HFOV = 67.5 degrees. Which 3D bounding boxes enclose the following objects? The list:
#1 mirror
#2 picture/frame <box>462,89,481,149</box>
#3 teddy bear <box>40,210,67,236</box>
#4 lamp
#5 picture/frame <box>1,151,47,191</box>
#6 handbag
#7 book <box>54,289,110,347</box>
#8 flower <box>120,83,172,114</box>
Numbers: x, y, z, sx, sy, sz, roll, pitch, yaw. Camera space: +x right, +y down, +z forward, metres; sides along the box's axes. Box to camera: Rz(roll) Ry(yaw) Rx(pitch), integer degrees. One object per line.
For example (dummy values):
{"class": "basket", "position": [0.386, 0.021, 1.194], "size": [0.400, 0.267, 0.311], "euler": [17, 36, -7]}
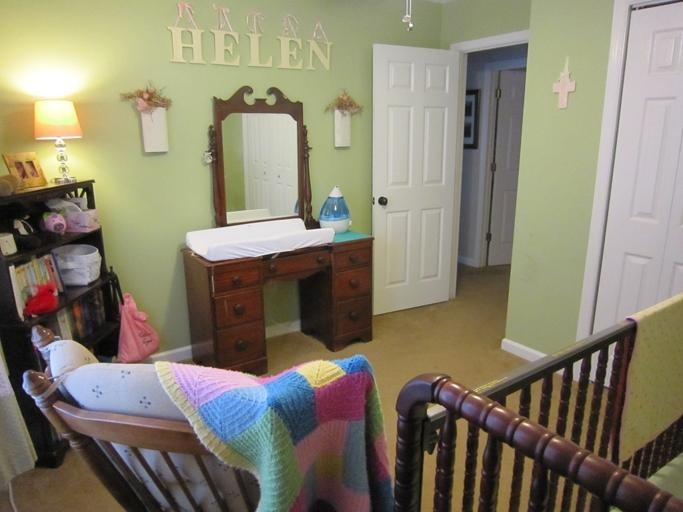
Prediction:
{"class": "mirror", "position": [-0.602, -0.724, 3.703], "size": [0.829, 1.229, 0.099], "euler": [-11, 18, -34]}
{"class": "picture/frame", "position": [1.349, -1.446, 5.479], "size": [0.036, 0.564, 0.382], "euler": [8, 14, 37]}
{"class": "teddy bear", "position": [-1.588, -0.172, 2.844], "size": [0.118, 0.126, 0.058], "euler": [12, -18, -15]}
{"class": "lamp", "position": [-1.657, -0.656, 3.013], "size": [0.221, 0.480, 0.230], "euler": [-2, 9, -4]}
{"class": "picture/frame", "position": [-1.729, -0.451, 2.762], "size": [0.019, 0.288, 0.271], "euler": [-9, 5, 19]}
{"class": "handbag", "position": [-1.306, 0.457, 3.267], "size": [0.193, 0.449, 0.291], "euler": [4, 10, 18]}
{"class": "book", "position": [-1.463, 0.346, 2.861], "size": [0.092, 0.273, 0.294], "euler": [-1, 13, -4]}
{"class": "flower", "position": [-1.246, -0.991, 3.267], "size": [0.211, 0.106, 0.210], "euler": [13, 7, 16]}
